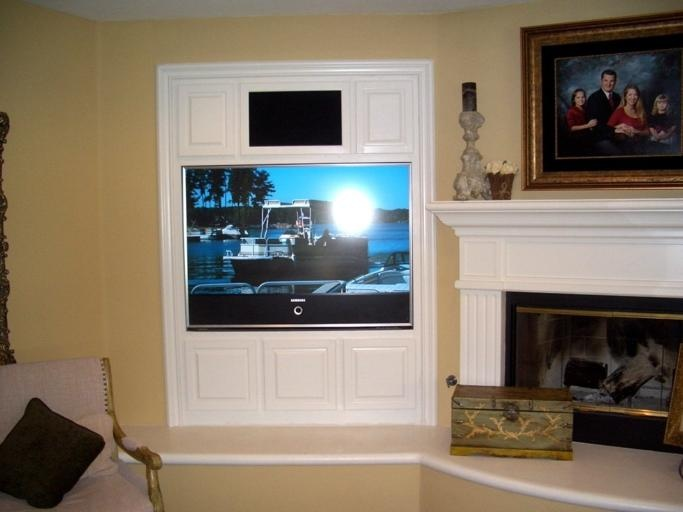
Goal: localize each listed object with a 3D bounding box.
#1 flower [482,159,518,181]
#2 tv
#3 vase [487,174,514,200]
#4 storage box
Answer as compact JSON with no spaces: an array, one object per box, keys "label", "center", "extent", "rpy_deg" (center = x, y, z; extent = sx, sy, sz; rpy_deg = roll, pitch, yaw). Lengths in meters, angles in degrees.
[{"label":"flower","center":[1.057,-0.578,3.736],"extent":[0.201,0.095,0.067],"rpy_deg":[2,5,14]},{"label":"tv","center":[-0.253,-0.113,4.130],"extent":[1.277,0.890,0.043],"rpy_deg":[0,1,1]},{"label":"vase","center":[1.056,-0.462,3.800],"extent":[0.171,0.139,0.166],"rpy_deg":[-2,5,-7]},{"label":"storage box","center":[1.084,1.095,3.632],"extent":[0.735,0.372,0.428],"rpy_deg":[1,12,8]}]
